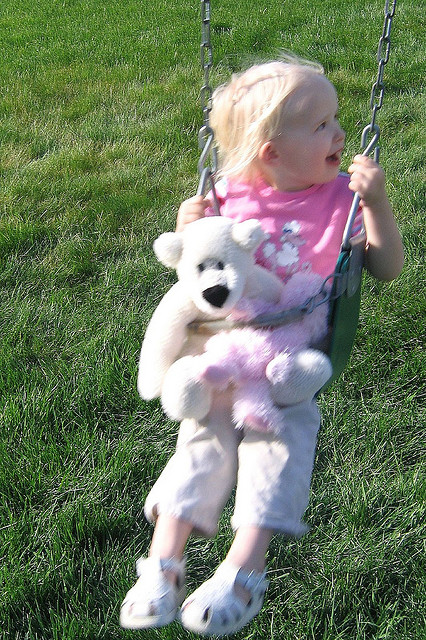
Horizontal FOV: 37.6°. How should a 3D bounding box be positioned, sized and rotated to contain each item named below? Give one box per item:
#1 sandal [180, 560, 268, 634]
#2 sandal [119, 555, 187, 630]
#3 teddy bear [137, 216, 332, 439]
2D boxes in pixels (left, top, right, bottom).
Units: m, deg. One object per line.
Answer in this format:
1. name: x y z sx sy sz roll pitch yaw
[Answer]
1. sandal: 0.025 0.511 1.151 0.170 0.088 0.095 -23 36 -32
2. sandal: -0.105 0.511 1.188 0.079 0.082 0.189 -3 -8 13
3. teddy bear: 0.035 0.018 1.332 0.473 0.418 0.275 -9 24 10
